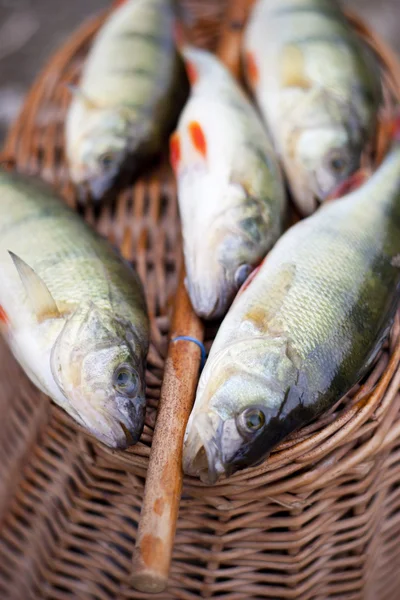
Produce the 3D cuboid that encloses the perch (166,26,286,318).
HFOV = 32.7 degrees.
[{"bbox_3d":[0.042,-0.220,1.308,0.206,0.151,0.586,-5,67,10],"label":"perch"}]
